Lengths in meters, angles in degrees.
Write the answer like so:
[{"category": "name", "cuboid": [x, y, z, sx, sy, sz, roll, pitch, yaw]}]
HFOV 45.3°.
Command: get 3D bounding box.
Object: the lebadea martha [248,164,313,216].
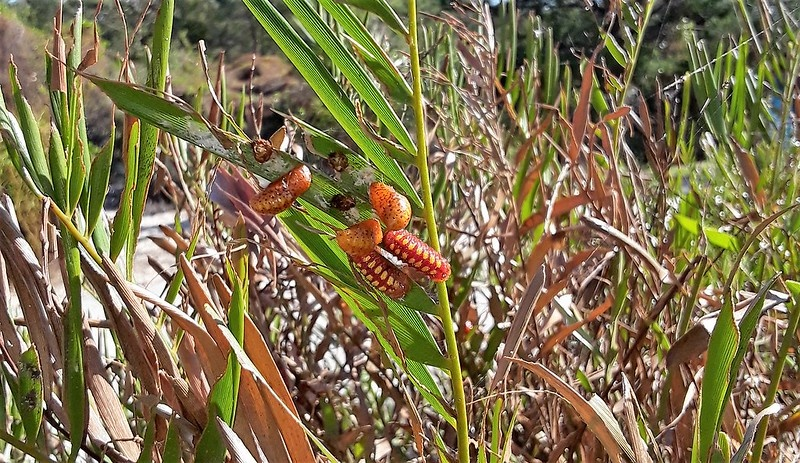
[{"category": "lebadea martha", "cuboid": [-0.128, -0.041, 1.027, 0.071, 0.037, 0.024, -46, 1, 0]}]
